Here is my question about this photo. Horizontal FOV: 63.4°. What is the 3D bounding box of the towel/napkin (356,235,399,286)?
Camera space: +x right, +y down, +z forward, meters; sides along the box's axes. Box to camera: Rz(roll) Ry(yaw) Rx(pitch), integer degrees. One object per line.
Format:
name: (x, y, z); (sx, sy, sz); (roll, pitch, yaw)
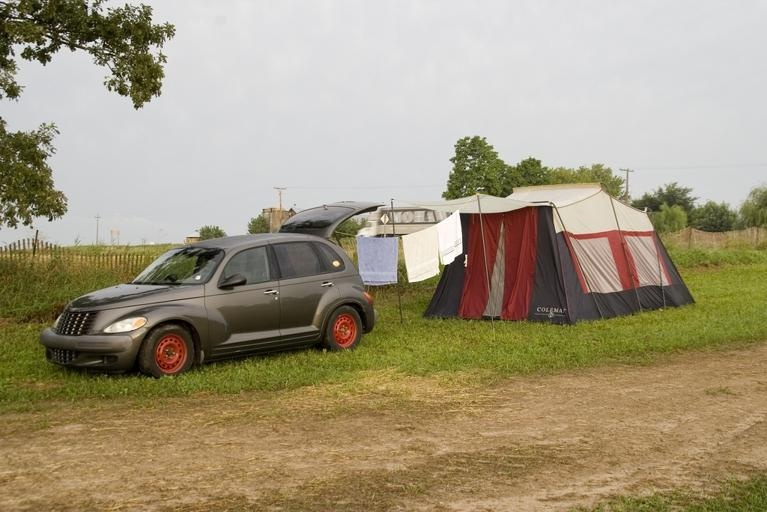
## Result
towel/napkin: (-0.138, 0.119, 14.480); (1.015, 1.127, 0.101); (-2, 6, -16)

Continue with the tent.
tent: (4.841, -0.103, 17.095); (7.025, 2.870, 4.792); (-3, 2, -39)

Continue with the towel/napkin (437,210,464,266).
towel/napkin: (1.501, -0.370, 14.050); (0.514, 1.292, 1.085); (1, 9, 8)

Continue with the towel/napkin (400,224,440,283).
towel/napkin: (0.840, -0.064, 13.760); (0.843, 1.234, 0.489); (0, 9, -2)

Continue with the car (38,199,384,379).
car: (-3.012, 0.514, 11.956); (5.978, 2.805, 2.922); (-2, 3, -42)
